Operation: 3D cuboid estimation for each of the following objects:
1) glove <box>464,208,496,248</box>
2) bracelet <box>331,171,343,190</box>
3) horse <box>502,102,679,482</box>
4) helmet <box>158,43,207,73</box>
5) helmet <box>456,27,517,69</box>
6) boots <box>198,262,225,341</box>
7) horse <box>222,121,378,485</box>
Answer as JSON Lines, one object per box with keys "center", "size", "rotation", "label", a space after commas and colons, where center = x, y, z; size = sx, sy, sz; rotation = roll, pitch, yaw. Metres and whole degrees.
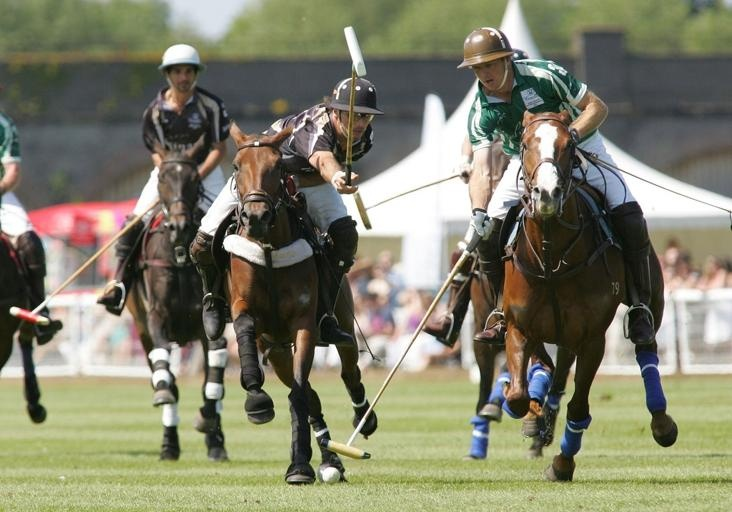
{"center": [1.449, -0.370, 19.124], "size": [0.342, 0.513, 0.223], "rotation": [30, 11, -18], "label": "glove"}
{"center": [-0.354, -0.970, 18.534], "size": [0.159, 0.076, 0.214], "rotation": [-41, 11, 16], "label": "bracelet"}
{"center": [2.515, 0.549, 18.567], "size": [1.442, 4.740, 1.166], "rotation": [0, -3, -6], "label": "horse"}
{"center": [-2.582, -2.783, 20.340], "size": [0.591, 0.405, 0.360], "rotation": [0, -3, -11], "label": "helmet"}
{"center": [1.593, -2.724, 19.071], "size": [0.533, 0.347, 0.666], "rotation": [-16, -3, 39], "label": "helmet"}
{"center": [-2.047, 0.605, 19.237], "size": [0.346, 0.984, 0.412], "rotation": [-3, 10, 26], "label": "boots"}
{"center": [-1.214, 0.629, 18.824], "size": [1.236, 4.617, 0.971], "rotation": [0, -3, -12], "label": "horse"}
